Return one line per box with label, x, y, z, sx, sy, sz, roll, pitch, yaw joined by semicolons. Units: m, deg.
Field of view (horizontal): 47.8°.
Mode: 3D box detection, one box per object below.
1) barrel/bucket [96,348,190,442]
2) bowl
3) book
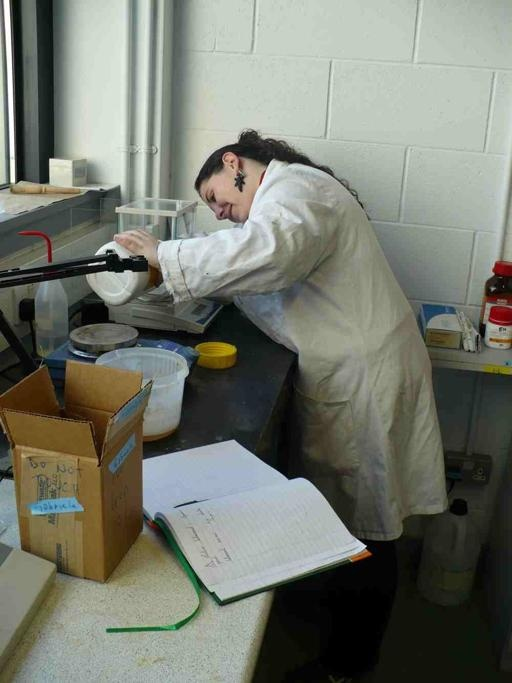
barrel/bucket;-0.202;0.077;1.082;0.184;0.135;0.182;2;17;-1
bowl;-0.206;0.097;1.094;0.172;0.126;0.170;4;17;-1
book;0.002;0.236;0.763;0.162;0.031;0.222;-9;26;-30
